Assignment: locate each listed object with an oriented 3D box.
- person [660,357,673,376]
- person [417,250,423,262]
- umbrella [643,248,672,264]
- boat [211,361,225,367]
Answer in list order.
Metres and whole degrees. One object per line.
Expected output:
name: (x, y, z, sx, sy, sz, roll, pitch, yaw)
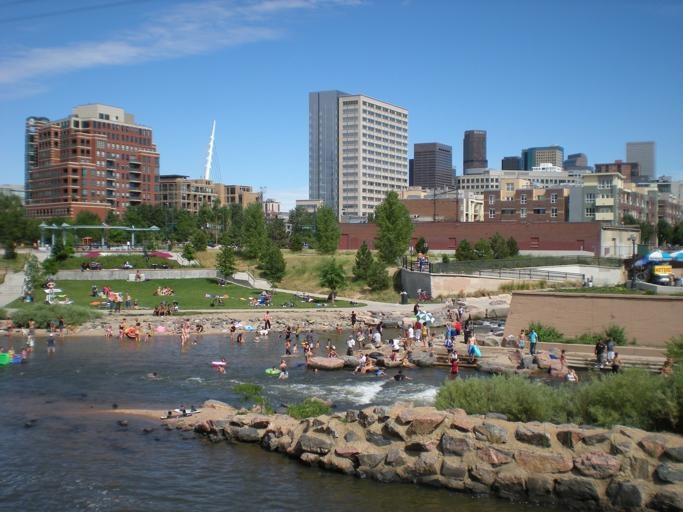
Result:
person: (21.856, 7.418, 57.401, 0.612, 1.105, 0.369, 18, -7, -42)
person: (9.543, 0.138, 102.623, 0.796, 1.108, 0.490, -3, 8, 42)
umbrella: (33.870, -0.012, 90.723, 1.860, 0.926, 1.819, 3, -5, -26)
boat: (-9.561, 8.296, 65.868, 1.026, 0.435, 0.535, -1, 4, 9)
